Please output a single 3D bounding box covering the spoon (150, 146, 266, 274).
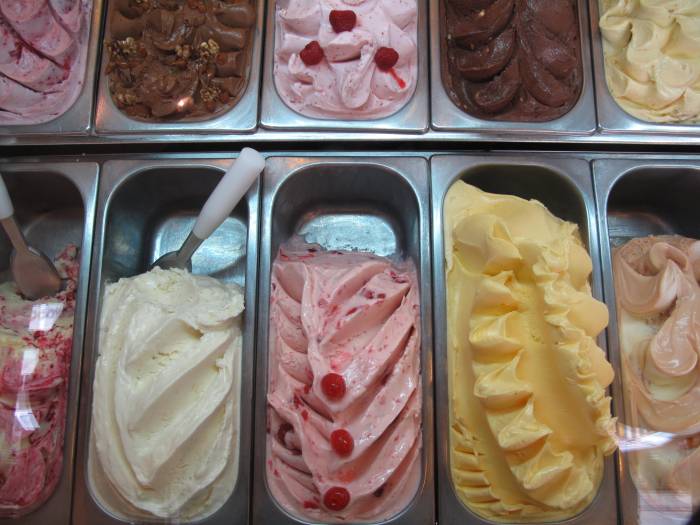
[{"bbox_3d":[-0.520,-0.195,2.184,0.104,0.081,0.509,43,103,26],"label":"spoon"}]
